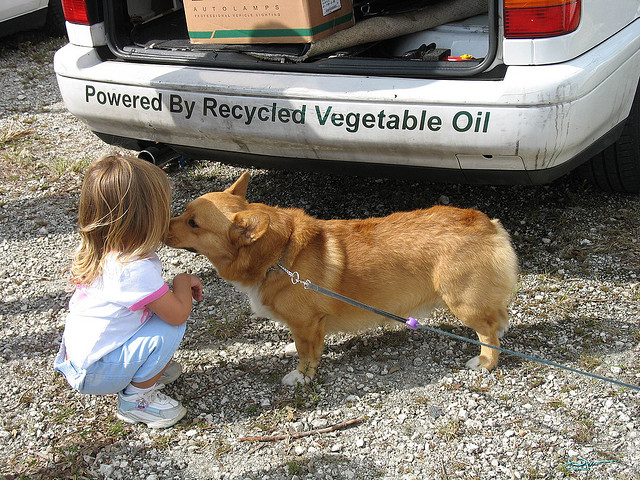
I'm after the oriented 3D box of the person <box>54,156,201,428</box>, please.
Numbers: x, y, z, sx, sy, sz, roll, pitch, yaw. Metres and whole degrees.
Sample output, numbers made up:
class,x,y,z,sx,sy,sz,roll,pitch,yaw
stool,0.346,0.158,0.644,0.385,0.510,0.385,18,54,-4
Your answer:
class,x,y,z,sx,sy,sz,roll,pitch,yaw
person,-1.035,0.258,3.031,0.845,1.366,0.762,0,13,-14

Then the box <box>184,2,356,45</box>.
class,x,y,z,sx,sy,sz,roll,pitch,yaw
box,-0.383,-1.532,3.797,1.180,0.283,0.491,-7,32,-1

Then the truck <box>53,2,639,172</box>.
class,x,y,z,sx,sy,sz,roll,pitch,yaw
truck,0.185,-1.345,4.045,3.935,1.103,1.978,7,34,20
